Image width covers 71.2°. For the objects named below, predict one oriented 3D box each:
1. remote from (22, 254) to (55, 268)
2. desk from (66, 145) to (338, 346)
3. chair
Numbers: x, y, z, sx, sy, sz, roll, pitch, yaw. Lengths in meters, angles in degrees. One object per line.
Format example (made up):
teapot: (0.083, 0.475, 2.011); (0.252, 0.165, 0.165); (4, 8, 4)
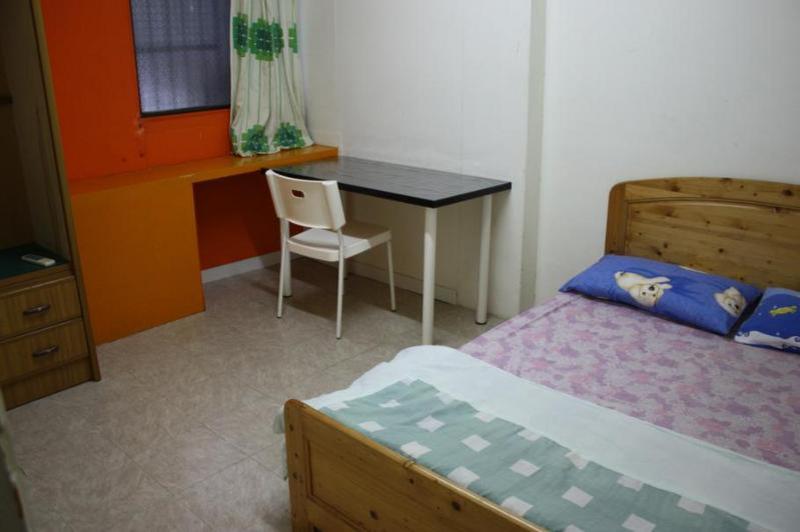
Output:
remote: (-1.870, -0.033, 2.911); (0.226, 0.036, 0.075); (14, 24, 30)
desk: (-2.052, -0.197, 4.733); (1.373, 0.707, 2.704); (-13, 8, -31)
chair: (-0.427, -0.068, 3.764); (0.648, 1.182, 0.840); (16, 29, 31)
